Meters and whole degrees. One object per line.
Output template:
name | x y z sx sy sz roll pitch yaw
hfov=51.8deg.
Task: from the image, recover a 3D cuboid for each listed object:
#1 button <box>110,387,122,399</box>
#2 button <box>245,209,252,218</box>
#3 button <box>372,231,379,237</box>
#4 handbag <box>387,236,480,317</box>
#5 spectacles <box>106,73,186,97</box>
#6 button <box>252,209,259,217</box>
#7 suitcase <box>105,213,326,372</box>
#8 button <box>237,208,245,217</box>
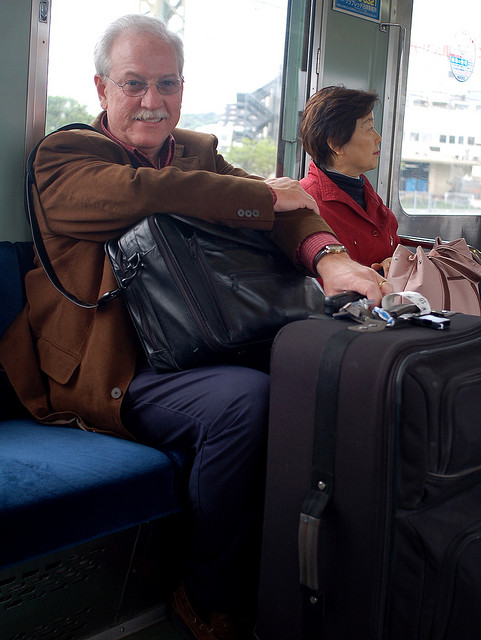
button | -0.286 0.169 1.142 0.022 0.021 0.008 4 -27 -8
button | 0.020 -0.269 1.246 0.017 0.016 0.004 -8 5 -31
button | 0.581 -0.373 2.139 0.020 0.019 0.006 -3 -2 -17
handbag | 0.635 -0.141 1.623 0.353 0.239 0.209 2 -8 -40
spectacles | -0.284 -0.705 1.503 0.225 0.072 0.074 -5 15 -20
button | 0.038 -0.271 1.257 0.017 0.016 0.004 1 -1 -42
suitcase | -0.029 -0.081 1.269 0.532 0.354 0.302 -13 -7 -43
button | 0.001 -0.268 1.234 0.017 0.016 0.004 -4 2 -44
